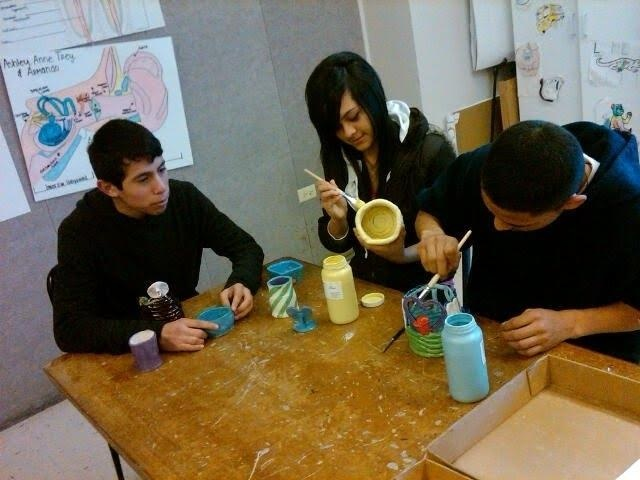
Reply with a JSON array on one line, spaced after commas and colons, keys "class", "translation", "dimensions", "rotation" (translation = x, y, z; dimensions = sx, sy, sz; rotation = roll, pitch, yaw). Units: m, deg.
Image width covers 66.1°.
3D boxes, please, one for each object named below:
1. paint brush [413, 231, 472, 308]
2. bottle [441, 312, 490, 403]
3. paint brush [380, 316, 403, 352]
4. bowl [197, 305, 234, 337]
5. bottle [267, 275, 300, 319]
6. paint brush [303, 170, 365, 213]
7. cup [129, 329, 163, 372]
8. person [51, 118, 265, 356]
[{"class": "paint brush", "translation": [0.485, 0.108, 1.960], "dimensions": [0.441, 0.050, 0.049], "rotation": [-52, 6, -18]}, {"class": "bottle", "translation": [0.446, 0.355, 1.498], "dimensions": [0.137, 0.254, 0.120], "rotation": [-1, 21, 16]}, {"class": "paint brush", "translation": [0.269, 0.354, 1.834], "dimensions": [0.019, 0.019, 0.175], "rotation": [24, 42, 22]}, {"class": "bowl", "translation": [-0.441, 0.344, 2.116], "dimensions": [0.164, 0.084, 0.164], "rotation": [-10, 17, 3]}, {"class": "bottle", "translation": [-0.133, 0.238, 2.139], "dimensions": [0.143, 0.165, 0.155], "rotation": [-7, 11, 1]}, {"class": "paint brush", "translation": [0.086, -0.240, 2.196], "dimensions": [0.038, 0.144, 0.422], "rotation": [-40, 51, -17]}, {"class": "cup", "translation": [-0.672, 0.437, 1.980], "dimensions": [0.131, 0.150, 0.140], "rotation": [-9, 19, 3]}, {"class": "person", "translation": [-0.876, -0.024, 2.526], "dimensions": [0.837, 1.176, 0.874], "rotation": [28, 45, 24]}]
